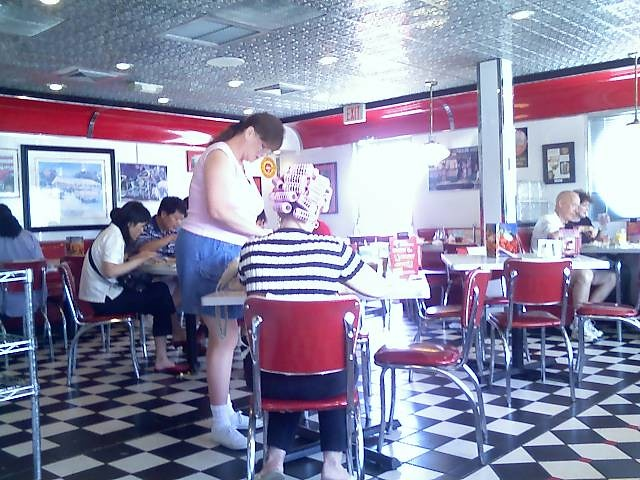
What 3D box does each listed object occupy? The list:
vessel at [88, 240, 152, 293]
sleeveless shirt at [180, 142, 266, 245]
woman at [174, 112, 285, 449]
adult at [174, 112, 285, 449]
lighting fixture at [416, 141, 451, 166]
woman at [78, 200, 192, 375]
[{"bbox_3d":[-2.049,0.195,5.425,0.615,0.301,0.548,21,1,25],"label":"vessel"},{"bbox_3d":[-0.632,-0.317,3.722,0.594,0.777,0.572,4,4,-8],"label":"sleeveless shirt"},{"bbox_3d":[-0.617,0.236,3.681,0.781,2.222,0.739,4,4,20],"label":"woman"},{"bbox_3d":[-0.649,0.240,3.696,0.695,2.215,0.734,5,5,36],"label":"adult"},{"bbox_3d":[1.808,-1.299,8.664,0.486,0.525,0.156,7,18,-1],"label":"lighting fixture"},{"bbox_3d":[-1.897,0.470,5.368,0.916,1.659,0.709,-2,0,-10],"label":"woman"}]
